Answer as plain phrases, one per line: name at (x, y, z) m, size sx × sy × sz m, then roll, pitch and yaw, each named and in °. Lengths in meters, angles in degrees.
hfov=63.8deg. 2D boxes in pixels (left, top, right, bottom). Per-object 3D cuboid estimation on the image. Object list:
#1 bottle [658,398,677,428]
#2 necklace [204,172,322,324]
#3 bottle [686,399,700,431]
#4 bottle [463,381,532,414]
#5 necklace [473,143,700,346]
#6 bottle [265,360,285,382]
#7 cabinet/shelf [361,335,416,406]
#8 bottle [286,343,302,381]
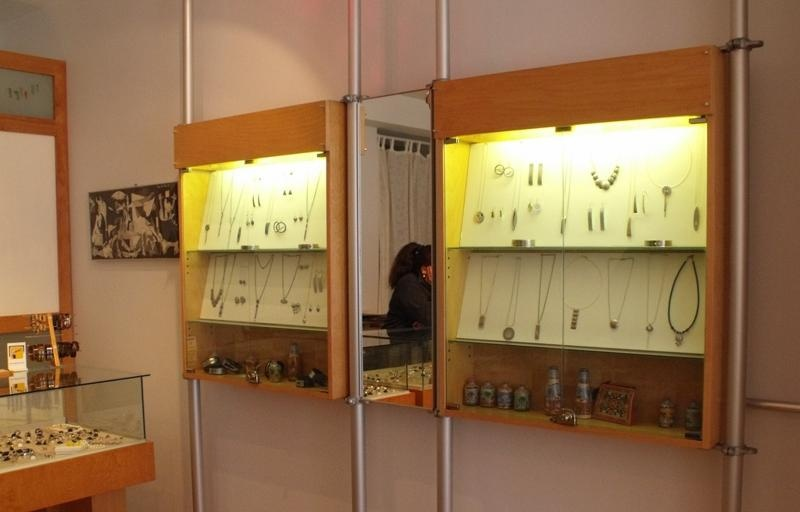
bottle at (1.394, 0.819, 3.359) m, size 0.084 × 0.147 × 0.010 m, roll -1°, pitch -1°, yaw 17°
necklace at (-0.899, -0.061, 4.387) m, size 1.027 × 0.927 × 0.340 m, roll 1°, pitch 0°, yaw 37°
bottle at (1.503, 0.819, 3.305) m, size 0.074 × 0.155 × 0.014 m, roll -2°, pitch -2°, yaw 36°
bottle at (0.568, 0.821, 3.759) m, size 0.391 × 0.149 × 0.138 m, roll -3°, pitch -2°, yaw 33°
necklace at (1.057, -0.060, 3.481) m, size 1.110 × 1.005 × 0.366 m, roll 0°, pitch -2°, yaw 30°
bottle at (-0.847, 0.775, 4.369) m, size 0.154 × 0.143 × 0.030 m, roll -2°, pitch -2°, yaw 34°
cabinet/shelf at (-0.120, 0.704, 4.093) m, size 0.373 × 0.386 × 0.380 m, roll -1°, pitch -2°, yaw 43°
bottle at (-0.705, 0.701, 4.294) m, size 0.116 × 0.247 × 0.022 m, roll -1°, pitch -2°, yaw 30°
